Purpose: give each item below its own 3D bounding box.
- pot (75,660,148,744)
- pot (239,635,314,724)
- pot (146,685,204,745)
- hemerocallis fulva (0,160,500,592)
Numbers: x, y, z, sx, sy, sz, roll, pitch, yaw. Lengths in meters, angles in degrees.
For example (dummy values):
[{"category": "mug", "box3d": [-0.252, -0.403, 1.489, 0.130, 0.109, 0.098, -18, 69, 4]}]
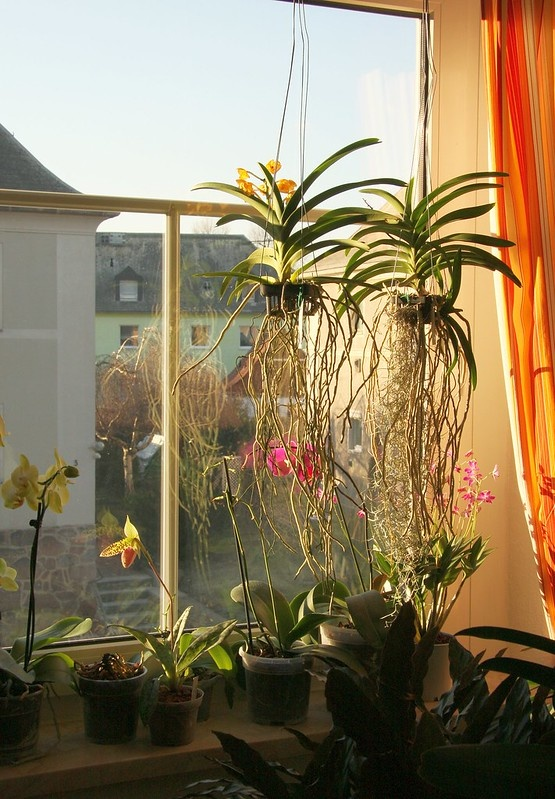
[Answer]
[{"category": "pot", "box3d": [-0.326, 0.595, 1.562, 0.170, 0.137, 0.146, 0, 3, 6]}, {"category": "pot", "box3d": [-0.012, 0.606, 1.611, 0.150, 0.162, 0.138, -1, 0, 0]}, {"category": "pot", "box3d": [-0.214, 0.621, 1.552, 0.114, 0.081, 0.107, 1, -3, 0]}, {"category": "hemerocallis fulva", "box3d": [-0.113, -0.057, 1.688, 1.146, 0.692, 0.028, 0, 2, -22]}]
